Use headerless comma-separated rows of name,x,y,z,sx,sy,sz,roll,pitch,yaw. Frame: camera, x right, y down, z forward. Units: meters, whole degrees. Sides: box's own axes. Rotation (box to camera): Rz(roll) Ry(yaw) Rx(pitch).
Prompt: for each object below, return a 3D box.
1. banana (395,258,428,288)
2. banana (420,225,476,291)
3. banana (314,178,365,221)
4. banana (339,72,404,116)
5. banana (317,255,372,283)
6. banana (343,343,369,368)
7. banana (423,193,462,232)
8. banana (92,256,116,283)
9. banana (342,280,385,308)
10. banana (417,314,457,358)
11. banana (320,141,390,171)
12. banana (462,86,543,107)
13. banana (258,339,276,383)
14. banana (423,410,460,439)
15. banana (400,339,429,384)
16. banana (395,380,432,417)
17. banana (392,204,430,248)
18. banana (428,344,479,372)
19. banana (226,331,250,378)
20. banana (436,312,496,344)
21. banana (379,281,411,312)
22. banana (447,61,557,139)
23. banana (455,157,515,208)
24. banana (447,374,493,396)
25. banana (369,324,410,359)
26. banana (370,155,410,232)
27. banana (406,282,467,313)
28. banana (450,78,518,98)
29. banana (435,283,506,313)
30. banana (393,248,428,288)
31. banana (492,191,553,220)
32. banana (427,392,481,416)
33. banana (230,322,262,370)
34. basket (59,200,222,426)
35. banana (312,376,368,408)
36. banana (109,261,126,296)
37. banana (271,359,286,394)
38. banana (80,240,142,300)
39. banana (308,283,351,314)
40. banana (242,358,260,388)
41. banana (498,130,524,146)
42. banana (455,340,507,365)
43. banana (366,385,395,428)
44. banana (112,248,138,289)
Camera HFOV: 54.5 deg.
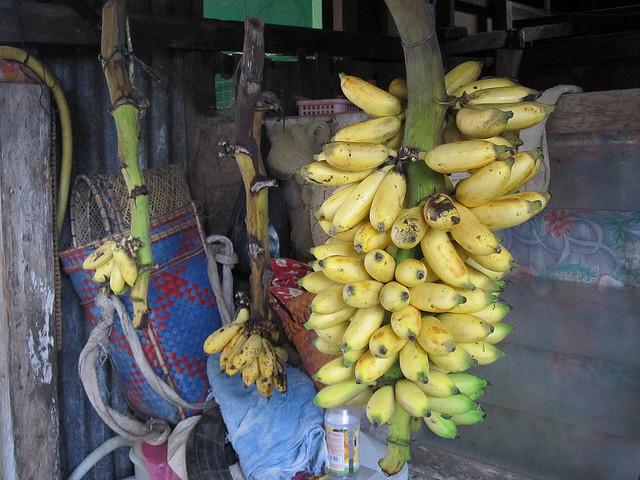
banana,0.203,0.084,1.435,0.059,0.065,0.071,21,-16,-29
banana,0.292,0.045,1.429,0.067,0.069,0.223,-30,46,2
banana,0.045,-0.104,1.549,0.043,0.152,0.048,42,0,-30
banana,0.125,-0.368,1.508,0.181,0.079,0.065,24,12,-20
banana,0.051,0.065,1.457,0.150,0.055,0.058,9,-1,-6
banana,0.074,0.267,1.446,0.029,0.036,0.095,-2,13,42
banana,0.277,-0.069,1.430,0.053,0.064,0.091,27,8,-23
banana,-0.706,0.084,1.937,0.030,0.096,0.028,-8,57,-55
banana,0.094,0.118,1.425,0.093,0.051,0.046,-3,19,-22
banana,0.265,0.220,1.410,0.049,0.060,0.115,-31,11,7
banana,0.072,-0.200,1.494,0.213,0.085,0.062,-1,-17,-11
banana,0.425,-0.340,1.467,0.217,0.061,0.049,-3,5,-5
banana,-0.178,0.355,1.873,0.039,0.039,0.139,6,48,-16
banana,0.291,0.438,1.503,0.099,0.053,0.034,39,24,-5
banana,0.212,0.275,1.416,0.054,0.037,0.110,-42,19,5
banana,0.214,0.360,1.428,0.049,0.043,0.104,-19,32,-10
banana,0.201,-0.031,1.390,0.054,0.053,0.124,26,31,3
banana,0.311,0.271,1.442,0.103,0.055,0.038,5,-31,0
banana,-0.267,0.339,1.883,0.037,0.147,0.042,14,-21,38
banana,0.356,0.220,1.482,0.069,0.063,0.137,3,-10,-40
banana,0.164,0.126,1.393,0.056,0.066,0.071,-1,33,3
banana,0.402,-0.315,1.467,0.240,0.195,0.091,-1,-32,-13
banana,0.376,-0.129,1.421,0.145,0.075,0.051,-39,-1,25
banana,0.358,0.340,1.497,0.115,0.044,0.042,12,15,-9
banana,0.151,0.242,1.471,0.075,0.072,0.152,3,3,12
banana,0.166,-0.131,1.485,0.063,0.221,0.074,16,-31,17
banana,0.268,0.134,1.441,0.062,0.073,0.194,-3,3,-34
banana,0.396,-0.366,1.492,0.116,0.042,0.032,-9,34,-7
banana,0.334,0.141,1.463,0.176,0.059,0.055,3,0,-7
banana,0.206,0.069,1.432,0.085,0.057,0.070,-7,28,31
banana,0.491,-0.102,1.509,0.048,0.066,0.177,-13,14,-27
banana,0.312,0.382,1.488,0.146,0.049,0.051,2,-34,-8
banana,-0.240,0.332,1.900,0.091,0.065,0.211,3,30,5
basket,-0.723,0.292,2.481,0.588,0.877,0.274,-3,6,-11
banana,0.052,0.365,1.523,0.173,0.065,0.049,-16,6,21
banana,-0.650,0.117,1.895,0.034,0.118,0.036,-3,18,-15
banana,-0.142,0.419,1.949,0.025,0.093,0.049,-11,-1,41
banana,-0.706,0.087,2.012,0.199,0.157,0.095,42,21,13
banana,-0.006,0.147,1.522,0.081,0.065,0.167,4,-1,41
banana,-0.226,0.397,1.870,0.042,0.085,0.026,-15,26,-22
banana,0.473,-0.250,1.511,0.034,0.021,0.063,-32,24,4
banana,0.417,0.279,1.541,0.148,0.055,0.050,11,41,-13
banana,0.138,0.381,1.452,0.062,0.047,0.135,17,13,6
banana,-0.609,0.078,1.852,0.059,0.125,0.042,-11,-2,5
